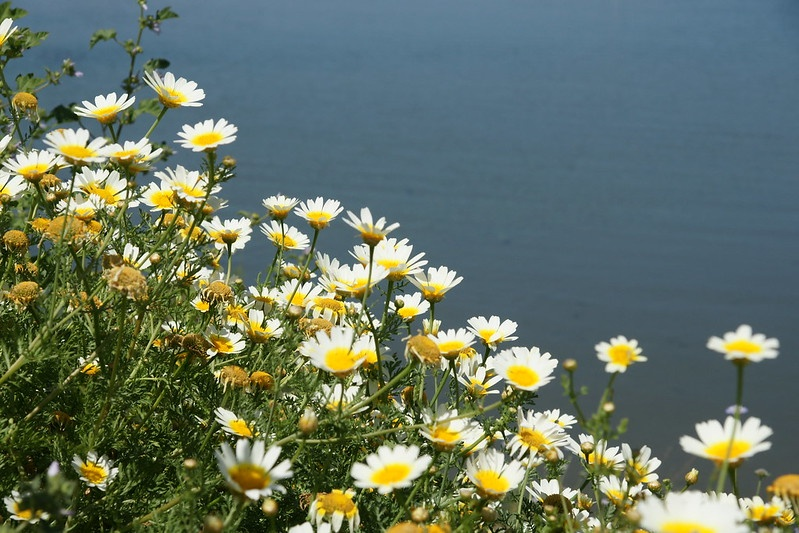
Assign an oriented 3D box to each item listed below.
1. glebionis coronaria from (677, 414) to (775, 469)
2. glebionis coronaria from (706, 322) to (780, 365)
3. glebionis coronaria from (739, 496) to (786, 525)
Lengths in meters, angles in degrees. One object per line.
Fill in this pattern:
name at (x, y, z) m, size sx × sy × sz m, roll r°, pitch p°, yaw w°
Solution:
glebionis coronaria at (1.085, 0.568, 3.797) m, size 0.267 × 0.178 × 0.248 m, roll 16°, pitch 15°, yaw 16°
glebionis coronaria at (1.197, 0.291, 3.967) m, size 0.245 × 0.084 × 0.271 m, roll -3°, pitch 16°, yaw 1°
glebionis coronaria at (1.309, 0.874, 4.096) m, size 0.136 × 0.060 × 0.140 m, roll -10°, pitch 10°, yaw 42°
